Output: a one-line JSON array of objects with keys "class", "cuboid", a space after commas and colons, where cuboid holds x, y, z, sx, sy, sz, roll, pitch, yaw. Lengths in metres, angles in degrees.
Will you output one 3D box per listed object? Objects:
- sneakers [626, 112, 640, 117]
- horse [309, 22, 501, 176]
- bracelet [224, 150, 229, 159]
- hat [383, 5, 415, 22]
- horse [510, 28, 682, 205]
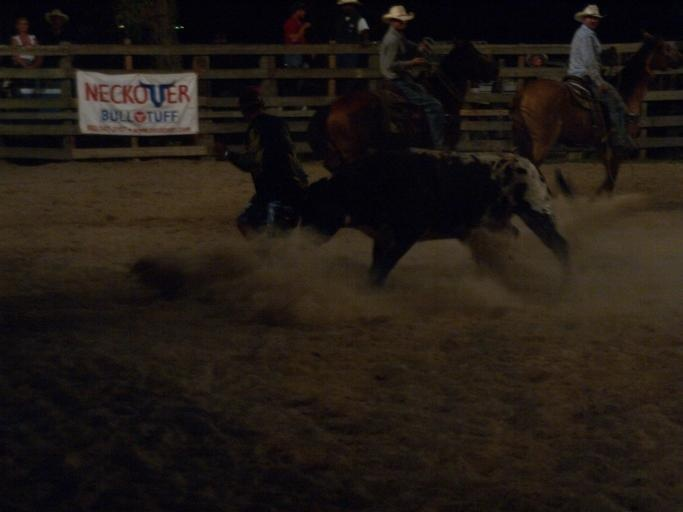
[{"class": "sneakers", "cuboid": [3.993, -1.929, 9.718, 0.143, 0.041, 0.132, -1, 7, -14]}, {"class": "horse", "cuboid": [0.684, -1.602, 7.798, 2.390, 1.053, 0.609, -22, 20, -27]}, {"class": "bracelet", "cuboid": [-0.980, -0.858, 6.027, 0.025, 0.040, 0.077, 4, -19, -13]}, {"class": "hat", "cuboid": [0.635, -2.708, 7.939, 0.312, 0.163, 0.320, 2, 17, 0]}, {"class": "horse", "cuboid": [3.368, -1.803, 9.533, 2.389, 2.061, 0.859, -11, 23, -35]}]
